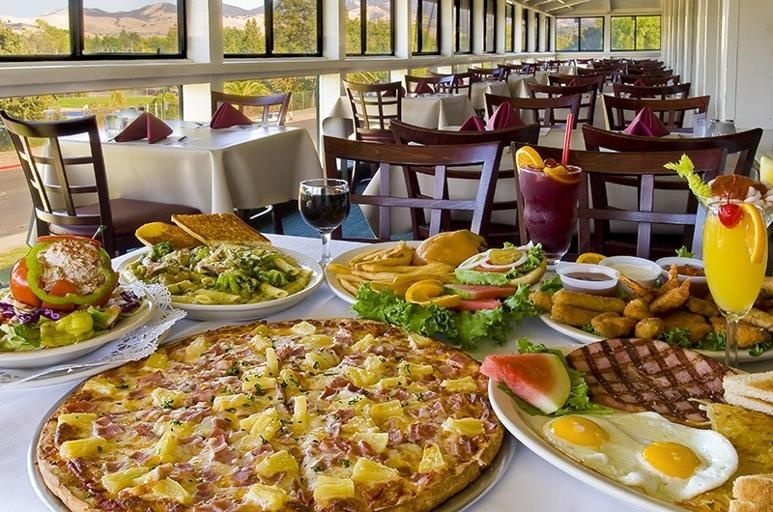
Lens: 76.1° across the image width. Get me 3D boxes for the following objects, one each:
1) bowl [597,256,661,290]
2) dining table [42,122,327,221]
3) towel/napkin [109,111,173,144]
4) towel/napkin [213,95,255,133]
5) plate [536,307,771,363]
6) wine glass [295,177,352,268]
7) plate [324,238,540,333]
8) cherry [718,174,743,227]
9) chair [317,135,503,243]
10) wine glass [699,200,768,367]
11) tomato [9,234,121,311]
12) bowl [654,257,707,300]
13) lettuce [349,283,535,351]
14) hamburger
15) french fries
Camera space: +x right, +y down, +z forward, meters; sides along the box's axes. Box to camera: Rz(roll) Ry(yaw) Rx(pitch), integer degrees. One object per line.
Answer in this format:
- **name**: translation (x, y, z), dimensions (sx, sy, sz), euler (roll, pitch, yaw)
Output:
- **bowl**: translation (0.528, 0.032, 1.036), dimensions (0.078, 0.025, 0.078), euler (6, 23, -2)
- **dining table**: translation (-1.049, -0.651, 3.594), dimensions (1.403, 0.435, 1.447), euler (6, 19, 19)
- **towel/napkin**: translation (-1.517, -0.777, 3.051), dimensions (0.381, 0.203, 0.275), euler (-8, 17, -33)
- **towel/napkin**: translation (-1.120, -1.026, 3.600), dimensions (0.203, 0.117, 0.278), euler (30, 26, 11)
- **plate**: translation (0.468, 0.122, 0.917), dimensions (0.330, 0.057, 0.234), euler (2, 7, 1)
- **wine glass**: translation (-0.161, -0.084, 1.304), dimensions (0.131, 0.209, 0.134), euler (-5, 11, -20)
- **plate**: translation (0.159, 0.014, 1.134), dimensions (0.487, 0.174, 0.405), euler (7, 11, 40)
- **cherry**: translation (0.539, -0.083, 0.773), dimensions (0.031, 0.070, 0.066), euler (10, 24, 26)
- **chair**: translation (0.143, -0.304, 1.896), dimensions (0.580, 0.410, 0.852), euler (15, 17, 30)
- **wine glass**: translation (0.521, 0.039, 0.852), dimensions (0.139, 0.241, 0.162), euler (4, 16, 20)
- **tomato**: translation (-0.561, 0.028, 0.843), dimensions (0.132, 0.068, 0.152), euler (1, 35, -17)
- **bowl**: translation (0.627, 0.058, 1.045), dimensions (0.094, 0.041, 0.093), euler (-5, 24, 2)
- **lettuce**: translation (0.172, 0.087, 1.031), dimensions (0.283, 0.065, 0.303), euler (-9, 4, -37)
- **hamburger**: translation (0.253, -0.004, 1.072), dimensions (0.206, 0.083, 0.157), euler (5, 12, 27)
- **french fries**: translation (-0.054, 0.020, 1.190), dimensions (0.166, 0.133, 0.231), euler (3, 12, 18)
